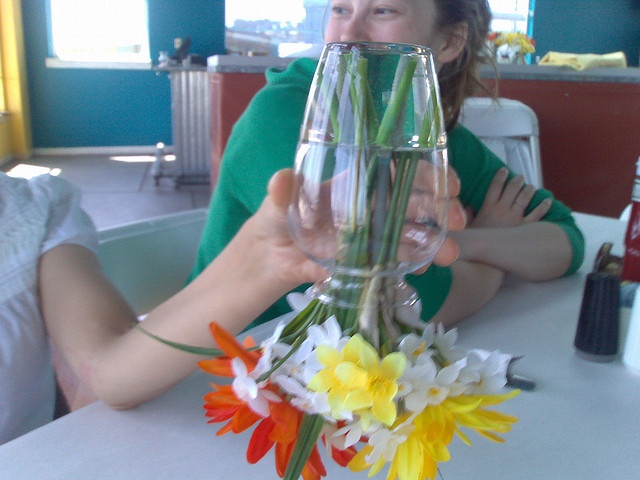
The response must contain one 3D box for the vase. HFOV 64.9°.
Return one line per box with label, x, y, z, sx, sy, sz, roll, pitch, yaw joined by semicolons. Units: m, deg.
vase;0.052;-0.071;0.493;0.157;0.213;0.157;-2;18;-8
